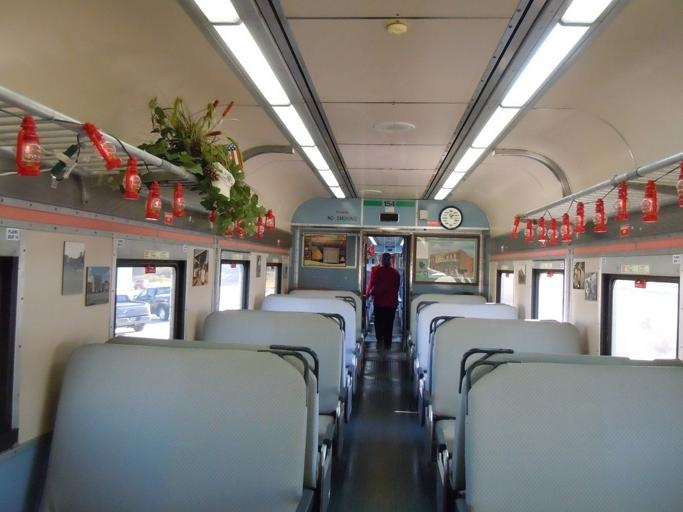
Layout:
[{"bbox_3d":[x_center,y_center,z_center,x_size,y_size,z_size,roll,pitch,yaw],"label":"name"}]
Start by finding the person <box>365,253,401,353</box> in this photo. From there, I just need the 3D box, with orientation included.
[{"bbox_3d":[0.975,1.099,11.195,0.732,2.387,1.081,1,4,5],"label":"person"}]

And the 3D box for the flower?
[{"bbox_3d":[-1.197,-0.769,4.228,0.487,1.145,1.125,3,4,29],"label":"flower"}]
